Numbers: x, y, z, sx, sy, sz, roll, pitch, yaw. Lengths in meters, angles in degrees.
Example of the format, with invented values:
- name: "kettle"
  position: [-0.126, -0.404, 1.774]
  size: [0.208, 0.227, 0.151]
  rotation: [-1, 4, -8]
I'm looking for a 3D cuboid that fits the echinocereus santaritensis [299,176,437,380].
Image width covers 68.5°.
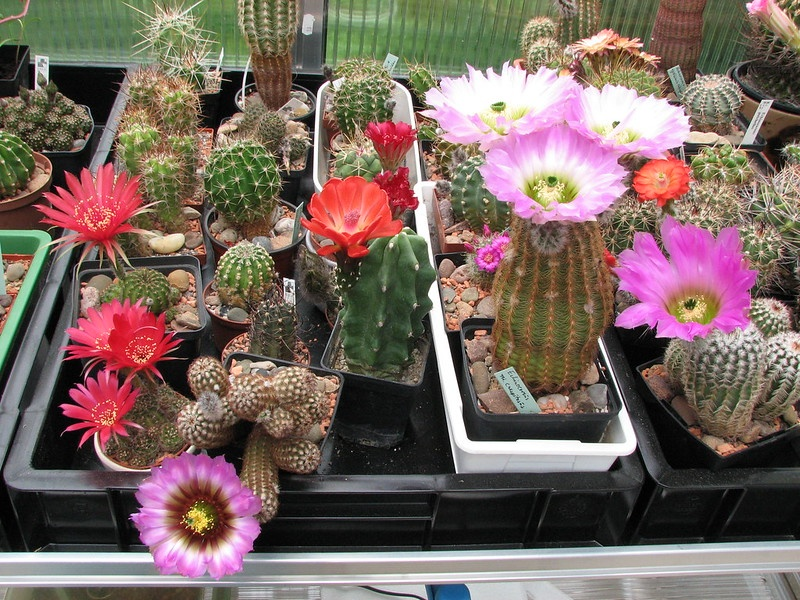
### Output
- name: "echinocereus santaritensis"
  position: [-0.066, -0.046, 1.367]
  size: [0.311, 0.492, 0.254]
  rotation: [-2, 44, -2]

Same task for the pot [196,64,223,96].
- name: "pot"
  position: [-0.831, -0.953, 2.551]
  size: [0.129, 0.127, 0.054]
  rotation: [2, -6, 3]

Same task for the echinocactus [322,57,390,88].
- name: "echinocactus"
  position: [-0.187, -0.967, 2.467]
  size: [0.259, 0.101, 0.223]
  rotation: [0, 19, 2]
